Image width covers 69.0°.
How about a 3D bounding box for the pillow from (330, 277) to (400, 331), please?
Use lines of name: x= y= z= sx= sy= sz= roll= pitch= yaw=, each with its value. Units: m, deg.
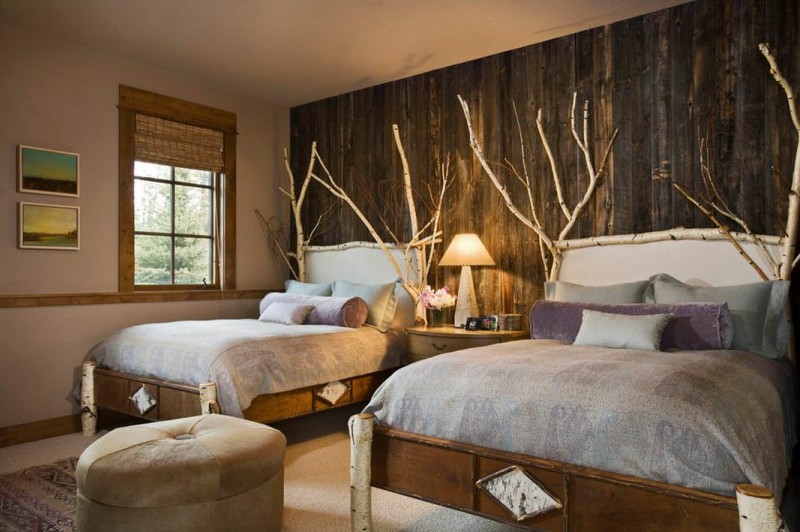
pillow: x=-0.418 y=0.351 z=5.599 sx=0.745 sy=0.492 sz=0.288 roll=7 pitch=-14 yaw=23
